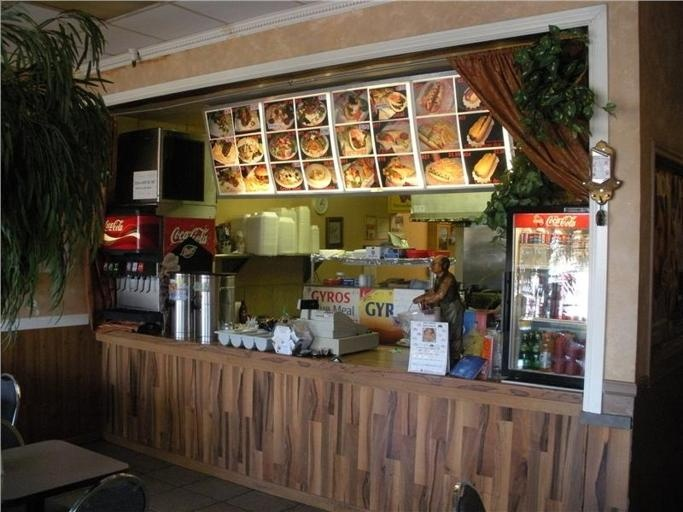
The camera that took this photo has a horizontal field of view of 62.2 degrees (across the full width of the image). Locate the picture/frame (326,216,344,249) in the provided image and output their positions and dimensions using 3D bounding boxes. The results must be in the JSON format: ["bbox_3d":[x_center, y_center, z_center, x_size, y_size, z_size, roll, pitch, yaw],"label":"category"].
[{"bbox_3d":[-0.128,-0.395,9.049,0.034,0.487,0.492,-2,-7,30],"label":"picture/frame"}]

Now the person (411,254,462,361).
[{"bbox_3d":[0.763,0.409,4.272,0.330,0.779,0.300,-5,12,14],"label":"person"}]

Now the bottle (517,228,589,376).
[{"bbox_3d":[1.359,0.284,3.679,0.449,0.915,0.290,-1,14,23],"label":"bottle"}]
